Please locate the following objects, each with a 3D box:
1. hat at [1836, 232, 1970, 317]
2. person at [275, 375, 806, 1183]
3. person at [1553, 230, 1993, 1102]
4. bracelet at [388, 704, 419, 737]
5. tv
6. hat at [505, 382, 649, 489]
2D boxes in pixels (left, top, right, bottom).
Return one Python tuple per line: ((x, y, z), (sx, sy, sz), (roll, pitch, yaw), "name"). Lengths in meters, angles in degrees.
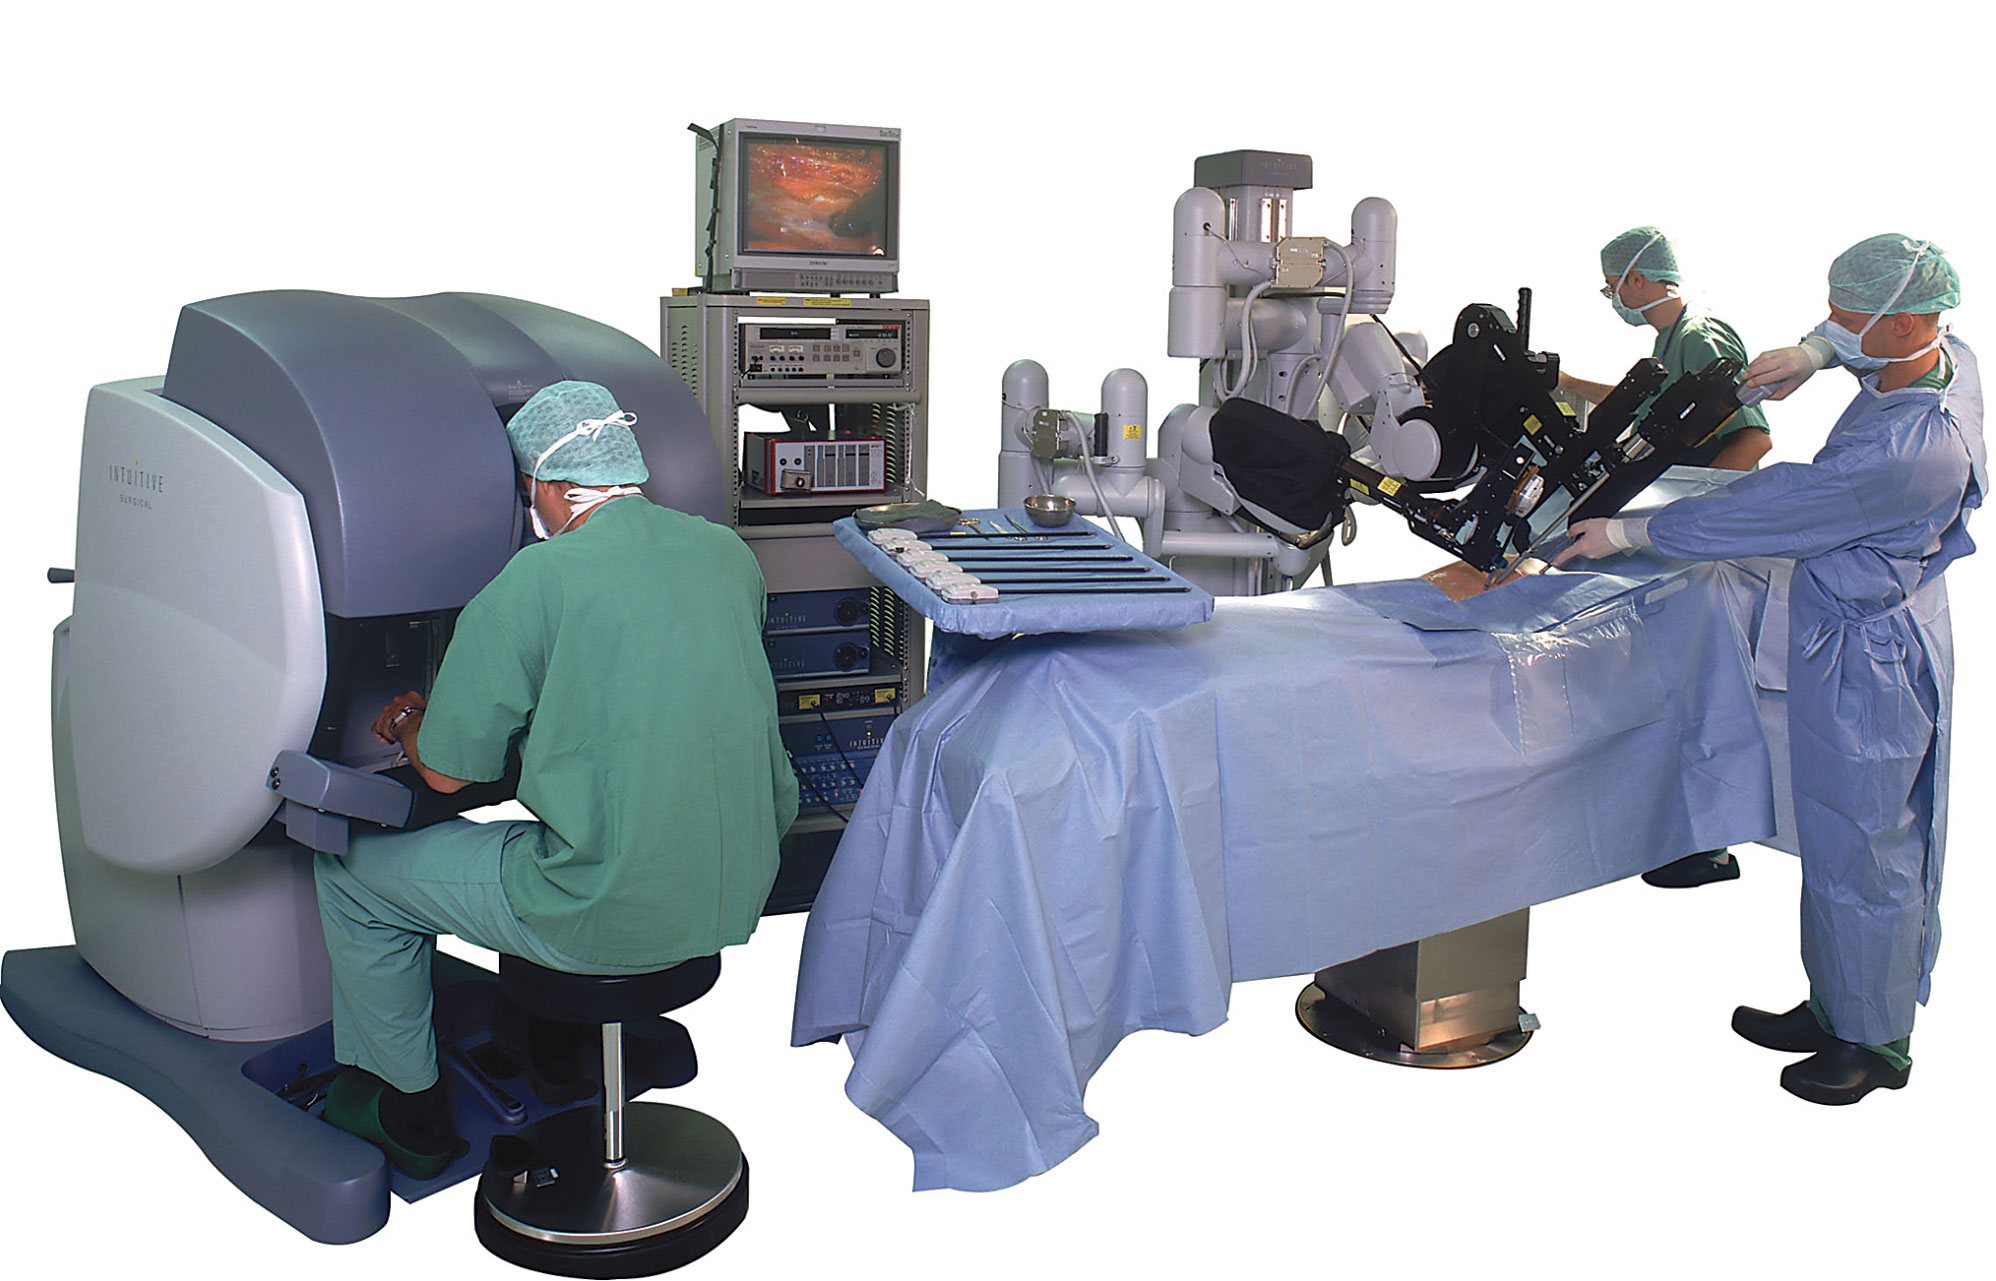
((2.366, -0.953, 4.488), (0.319, 0.212, 0.218), (3, 13, 17), "hat")
((-1.042, 0.258, 4.052), (1.009, 1.692, 0.465), (1, 13, 9), "person")
((2.286, 0.094, 4.758), (0.815, 2.370, 0.455), (3, 14, 15), "person")
((-1.410, 0.186, 4.118), (0.061, 0.069, 0.075), (13, 43, -17), "bracelet")
((-0.619, -1.326, 5.283), (0.646, 0.522, 0.340), (-1, 13, -4), "tv")
((-0.975, -0.471, 3.982), (0.237, 0.123, 0.286), (-7, 47, -12), "hat")
